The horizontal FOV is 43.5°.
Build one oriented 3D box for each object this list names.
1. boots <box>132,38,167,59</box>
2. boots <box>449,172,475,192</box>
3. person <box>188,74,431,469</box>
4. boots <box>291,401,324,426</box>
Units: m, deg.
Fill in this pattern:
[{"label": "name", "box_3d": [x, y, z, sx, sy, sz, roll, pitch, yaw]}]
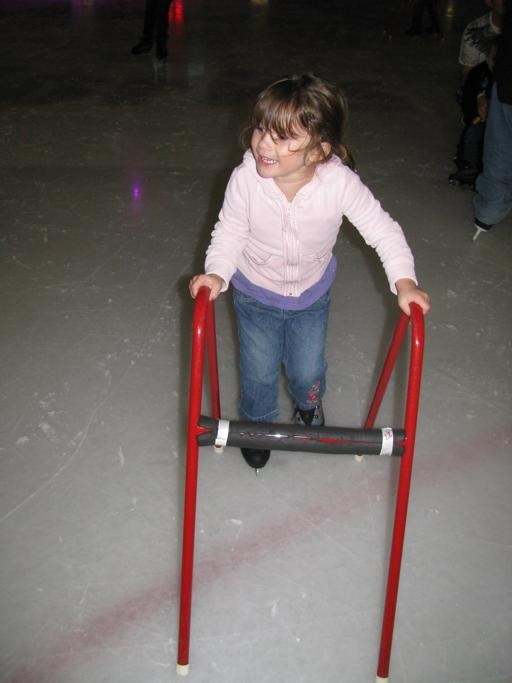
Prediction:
[{"label": "boots", "box_3d": [-0.696, -1.913, 4.195, 0.213, 0.109, 0.339, -10, 29, -19]}, {"label": "boots", "box_3d": [0.904, -0.705, 2.804, 0.031, 0.062, 0.103, -12, 24, -43]}, {"label": "person", "box_3d": [0.119, -0.083, 1.360, 0.413, 0.892, 0.416, 4, 28, 8]}, {"label": "boots", "box_3d": [0.140, 0.190, 1.682, 0.042, 0.049, 0.115, -1, 2, 6]}]
